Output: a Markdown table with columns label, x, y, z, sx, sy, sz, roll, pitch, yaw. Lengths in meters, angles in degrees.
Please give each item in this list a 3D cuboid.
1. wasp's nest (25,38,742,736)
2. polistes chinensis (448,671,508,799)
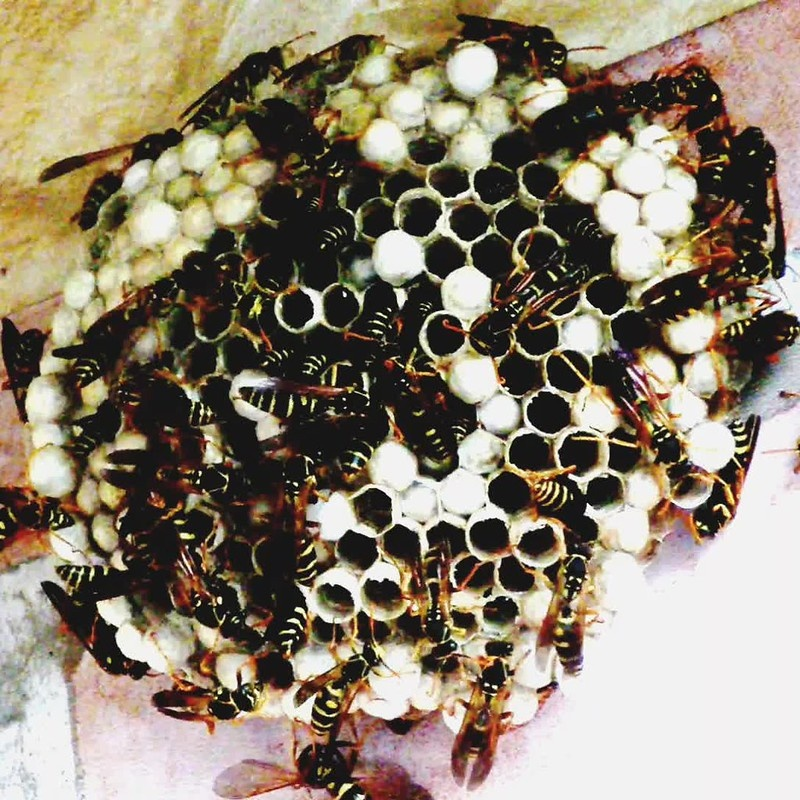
| label | x | y | z | sx | sy | sz | roll | pitch | yaw |
| --- | --- | --- | --- | --- | --- | --- | --- | --- | --- |
| wasp's nest | -0.039 | -0.014 | 3.518 | 1.819 | 1.925 | 0.529 | 23 | -6 | 5 |
| polistes chinensis | 0.253 | 0.960 | 3.536 | 0.157 | 0.362 | 0.117 | 17 | 36 | 9 |
